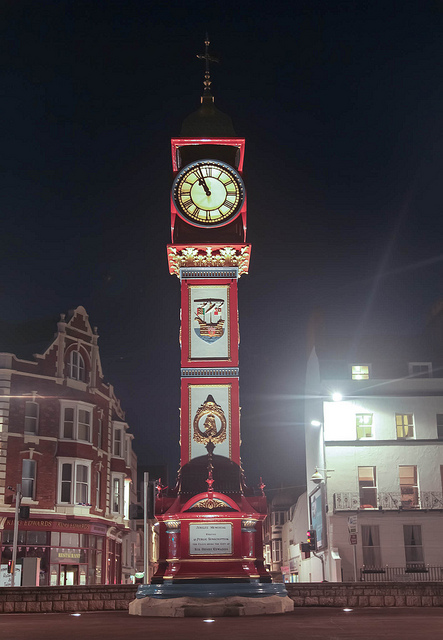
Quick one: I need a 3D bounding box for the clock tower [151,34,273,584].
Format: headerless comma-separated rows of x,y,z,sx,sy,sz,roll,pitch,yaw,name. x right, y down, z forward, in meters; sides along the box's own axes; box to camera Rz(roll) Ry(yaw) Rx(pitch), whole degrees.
-0.463,-1.762,21.907,2.827,19.197,1.401,-1,-20,-2,clock tower
